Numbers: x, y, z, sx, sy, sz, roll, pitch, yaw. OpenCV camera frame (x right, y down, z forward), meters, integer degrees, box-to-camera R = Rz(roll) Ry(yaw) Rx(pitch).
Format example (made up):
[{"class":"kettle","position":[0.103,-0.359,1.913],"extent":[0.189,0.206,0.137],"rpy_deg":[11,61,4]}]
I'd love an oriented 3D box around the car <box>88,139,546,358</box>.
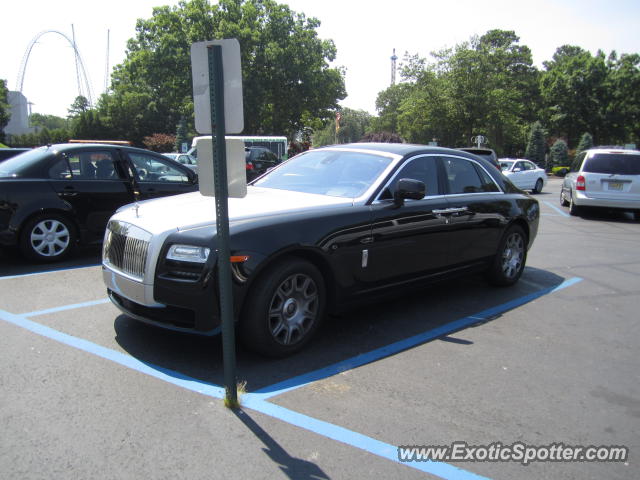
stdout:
[{"class":"car","position":[0.642,-0.215,5.494],"extent":[6.215,2.102,2.138],"rpy_deg":[-8,13,-40]}]
